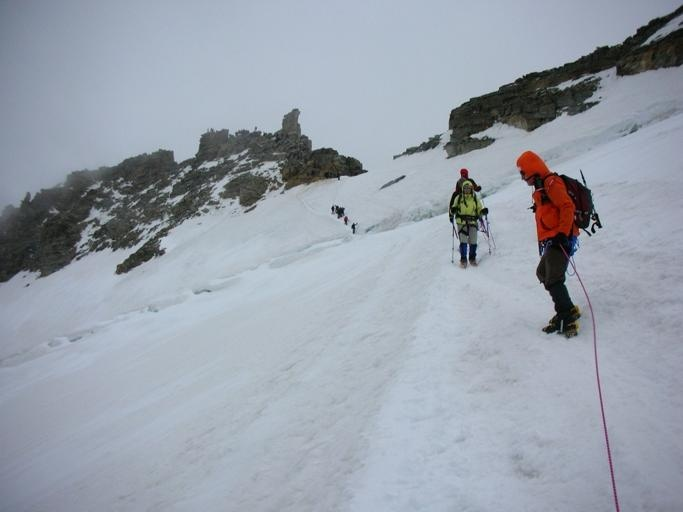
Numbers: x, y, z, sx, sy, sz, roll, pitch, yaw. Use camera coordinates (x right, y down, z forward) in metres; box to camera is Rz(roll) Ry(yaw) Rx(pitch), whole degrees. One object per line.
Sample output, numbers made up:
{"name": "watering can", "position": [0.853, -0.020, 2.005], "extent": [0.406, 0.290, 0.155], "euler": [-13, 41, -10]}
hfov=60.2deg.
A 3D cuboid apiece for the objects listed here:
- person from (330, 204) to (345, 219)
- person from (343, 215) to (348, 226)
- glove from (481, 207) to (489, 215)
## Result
{"name": "person", "position": [-0.161, -3.392, 44.213], "extent": [0.499, 1.020, 1.706], "euler": [-6, 20, -21]}
{"name": "person", "position": [0.256, -2.557, 41.592], "extent": [0.336, 0.589, 1.030], "euler": [-18, 13, 2]}
{"name": "glove", "position": [5.917, -1.868, 24.422], "extent": [0.268, 0.263, 0.340], "euler": [-4, -2, 27]}
